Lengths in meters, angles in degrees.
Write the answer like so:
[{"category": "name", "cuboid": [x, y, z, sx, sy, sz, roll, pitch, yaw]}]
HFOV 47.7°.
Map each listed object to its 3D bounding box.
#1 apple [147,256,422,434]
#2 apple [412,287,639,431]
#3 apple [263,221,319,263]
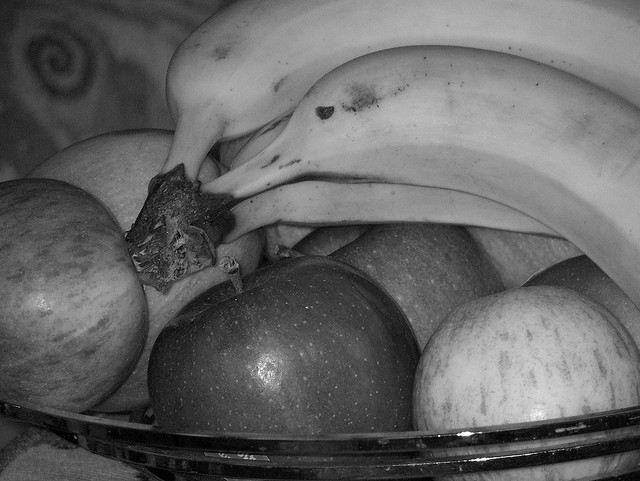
[{"category": "apple", "cuboid": [-0.039, 0.102, 0.751, 0.190, 0.198, 0.203, -10, 78, -49]}, {"category": "apple", "cuboid": [0.199, 0.125, 0.733, 0.148, 0.156, 0.156, -29, 69, -7]}, {"category": "apple", "cuboid": [-0.037, -0.004, 0.937, 0.059, 0.045, 0.036, -40, 100, -30]}]
